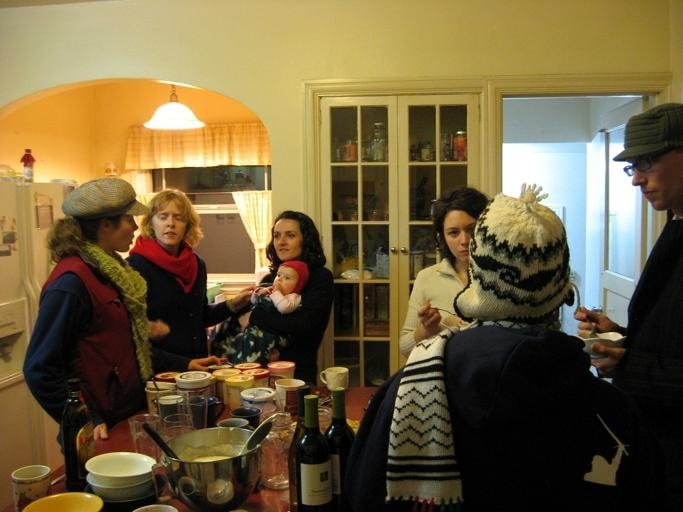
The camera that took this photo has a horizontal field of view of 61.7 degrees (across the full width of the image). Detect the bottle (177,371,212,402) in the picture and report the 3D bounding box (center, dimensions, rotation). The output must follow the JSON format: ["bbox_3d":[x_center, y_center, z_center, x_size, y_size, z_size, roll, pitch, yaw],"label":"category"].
[{"bbox_3d":[-0.543,0.470,2.104,0.101,0.105,0.103,0,1,5],"label":"bottle"}]

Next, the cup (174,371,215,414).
[{"bbox_3d":[-0.541,0.500,2.090,0.109,0.117,0.111,0,1,0],"label":"cup"}]

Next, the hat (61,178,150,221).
[{"bbox_3d":[-0.986,-0.260,2.399,0.339,0.146,0.232,-3,29,-20],"label":"hat"}]

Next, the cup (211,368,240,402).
[{"bbox_3d":[-0.456,0.509,2.278,0.110,0.111,0.112,0,1,0],"label":"cup"}]

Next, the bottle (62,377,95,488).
[{"bbox_3d":[-0.831,0.557,1.785,0.094,0.334,0.212,-4,6,-25],"label":"bottle"}]

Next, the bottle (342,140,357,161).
[{"bbox_3d":[0.051,-0.678,3.673,0.114,0.133,0.116,1,-1,1],"label":"bottle"}]

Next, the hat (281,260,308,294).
[{"bbox_3d":[-0.242,0.119,3.321,0.177,0.177,0.144,-2,4,9],"label":"hat"}]

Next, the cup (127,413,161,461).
[{"bbox_3d":[-0.659,0.590,1.890,0.096,0.171,0.159,-1,-2,-23],"label":"cup"}]

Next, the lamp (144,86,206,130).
[{"bbox_3d":[-1.452,-1.287,4.861,0.432,0.467,1.013,-4,6,-18],"label":"lamp"}]

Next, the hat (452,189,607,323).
[{"bbox_3d":[0.460,-0.018,1.447,0.318,0.345,0.240,-13,24,-23],"label":"hat"}]

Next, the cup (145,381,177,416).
[{"bbox_3d":[-0.687,0.522,2.156,0.121,0.118,0.123,1,0,0],"label":"cup"}]

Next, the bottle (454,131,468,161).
[{"bbox_3d":[0.750,-0.693,3.585,0.079,0.184,0.022,-1,6,11],"label":"bottle"}]

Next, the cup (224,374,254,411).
[{"bbox_3d":[-0.380,0.523,2.244,0.129,0.137,0.131,0,0,0],"label":"cup"}]

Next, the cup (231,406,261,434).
[{"bbox_3d":[-0.328,0.558,1.919,0.058,0.058,0.071,-6,-8,40],"label":"cup"}]

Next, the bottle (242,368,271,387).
[{"bbox_3d":[-0.336,0.470,2.264,0.075,0.073,0.075,-1,-2,-5],"label":"bottle"}]

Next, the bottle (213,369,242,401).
[{"bbox_3d":[-0.448,0.520,2.290,0.106,0.113,0.108,0,3,2],"label":"bottle"}]

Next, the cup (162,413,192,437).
[{"bbox_3d":[-0.525,0.536,1.814,0.071,0.073,0.072,-1,-3,0],"label":"cup"}]

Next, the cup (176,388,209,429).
[{"bbox_3d":[-0.495,0.522,1.977,0.129,0.155,0.108,-1,-10,-1],"label":"cup"}]

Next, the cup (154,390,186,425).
[{"bbox_3d":[-0.584,0.509,1.944,0.074,0.086,0.085,1,-4,0],"label":"cup"}]

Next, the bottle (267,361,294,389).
[{"bbox_3d":[-0.251,0.490,2.360,0.092,0.099,0.094,-1,-3,1],"label":"bottle"}]

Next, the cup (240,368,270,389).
[{"bbox_3d":[-0.350,0.480,2.275,0.076,0.076,0.077,-1,-2,0],"label":"cup"}]

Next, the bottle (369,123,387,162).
[{"bbox_3d":[0.237,-0.734,3.651,0.110,0.245,0.024,-1,5,4],"label":"bottle"}]

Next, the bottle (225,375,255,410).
[{"bbox_3d":[-0.402,0.508,2.197,0.127,0.135,0.129,0,0,3],"label":"bottle"}]

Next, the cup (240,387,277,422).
[{"bbox_3d":[-0.303,0.536,2.060,0.093,0.069,0.095,1,-2,0],"label":"cup"}]
